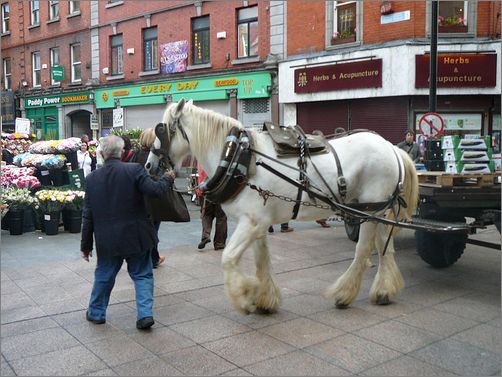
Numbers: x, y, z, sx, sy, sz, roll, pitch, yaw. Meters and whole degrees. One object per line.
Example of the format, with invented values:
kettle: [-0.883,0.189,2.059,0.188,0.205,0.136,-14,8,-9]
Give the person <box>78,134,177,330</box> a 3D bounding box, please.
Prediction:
person: [-1.645,0.538,6.409,1.134,2.378,0.570,3,10,15]

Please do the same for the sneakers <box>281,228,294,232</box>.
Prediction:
sneakers: [0.848,0.944,11.709,0.274,0.119,0.102,-13,20,-30]

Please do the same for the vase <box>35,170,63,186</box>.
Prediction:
vase: [-4.799,-0.273,12.030,0.460,0.361,0.420,-3,7,-10]

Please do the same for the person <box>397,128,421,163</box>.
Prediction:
person: [4.478,-1.067,14.228,0.738,1.088,0.610,2,-7,10]

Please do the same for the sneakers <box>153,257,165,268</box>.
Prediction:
sneakers: [-1.562,1.259,8.724,0.086,0.110,0.261,14,42,24]

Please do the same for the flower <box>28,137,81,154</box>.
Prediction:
flower: [-5.164,-1.139,13.262,0.938,0.221,0.351,-3,28,33]

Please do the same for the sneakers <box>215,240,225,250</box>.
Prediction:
sneakers: [-0.603,1.105,9.900,0.199,0.201,0.124,-5,13,-23]

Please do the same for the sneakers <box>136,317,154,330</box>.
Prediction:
sneakers: [-1.323,1.687,6.291,0.107,0.136,0.263,6,-6,-28]

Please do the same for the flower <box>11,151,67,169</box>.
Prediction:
flower: [-4.924,-0.783,11.774,1.151,0.471,0.268,6,-17,29]

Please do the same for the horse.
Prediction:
horse: [0.567,0.303,6.949,3.819,3.084,1.018,-1,8,-9]

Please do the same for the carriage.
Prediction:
carriage: [1.004,0.252,8.270,6.009,3.885,1.978,0,0,-4]
